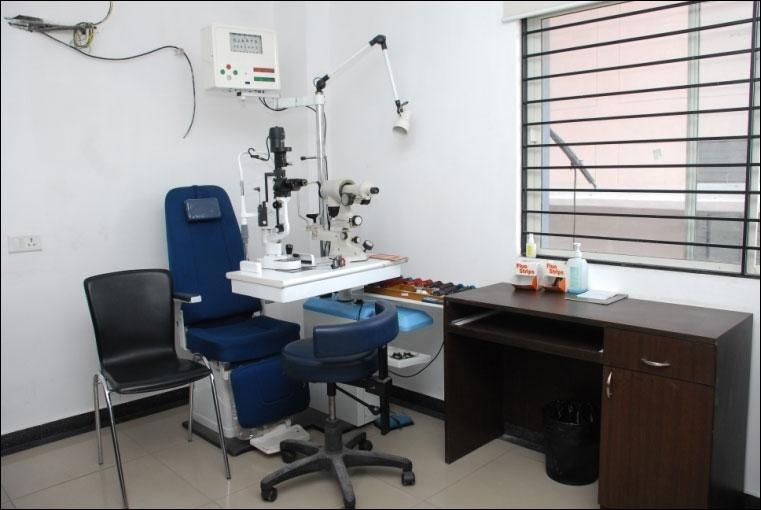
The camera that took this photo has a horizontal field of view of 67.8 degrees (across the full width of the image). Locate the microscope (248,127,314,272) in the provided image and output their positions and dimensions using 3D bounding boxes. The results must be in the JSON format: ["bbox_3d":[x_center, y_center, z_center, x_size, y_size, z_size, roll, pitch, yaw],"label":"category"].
[{"bbox_3d":[-0.612,-0.348,3.752,0.455,1.130,0.460,-13,25,-27],"label":"microscope"}]

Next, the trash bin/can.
[{"bbox_3d":[1.092,1.064,3.292,0.270,0.438,0.272,-3,12,-23],"label":"trash bin/can"}]

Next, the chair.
[{"bbox_3d":[-0.889,0.617,3.857,1.651,2.112,1.688,1,3,27],"label":"chair"}]
